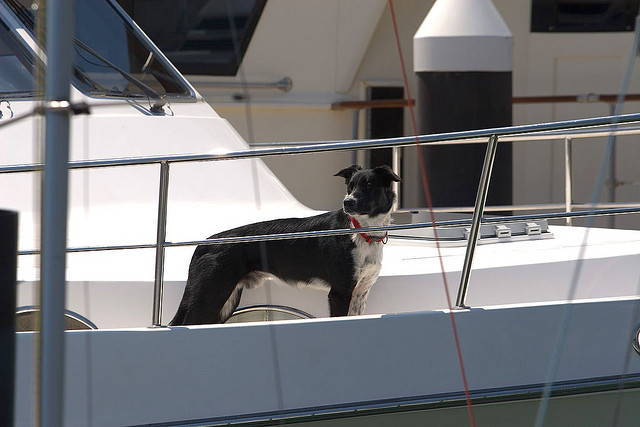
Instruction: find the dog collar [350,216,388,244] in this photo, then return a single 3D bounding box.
[{"bbox_3d":[0.149,0.038,5.503,0.086,0.034,0.095,33,-8,-28],"label":"dog collar"}]
